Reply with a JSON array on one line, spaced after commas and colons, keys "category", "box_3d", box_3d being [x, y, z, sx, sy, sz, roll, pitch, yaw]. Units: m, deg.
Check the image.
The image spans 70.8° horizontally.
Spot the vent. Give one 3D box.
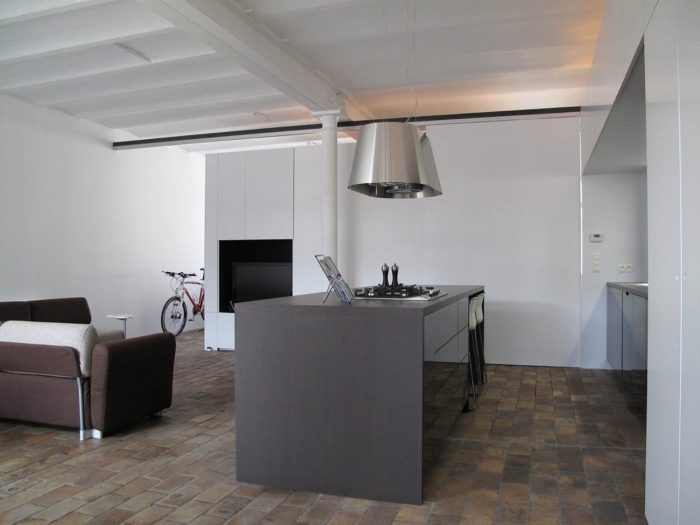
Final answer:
[{"category": "vent", "box_3d": [0.404, -0.891, 4.266, 0.711, 0.547, 0.861, 1, 3, 15]}]

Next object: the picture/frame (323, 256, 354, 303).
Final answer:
[{"category": "picture/frame", "box_3d": [-0.094, 0.117, 3.608, 0.255, 0.337, 0.267, 0, 6, 13]}]

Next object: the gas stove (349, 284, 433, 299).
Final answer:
[{"category": "gas stove", "box_3d": [0.335, 0.224, 3.998, 0.606, 0.051, 0.714, 0, 3, -1]}]

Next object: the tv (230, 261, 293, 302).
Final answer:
[{"category": "tv", "box_3d": [-1.456, 0.304, 8.086, 1.094, 0.711, 0.610, 1, 2, 5]}]

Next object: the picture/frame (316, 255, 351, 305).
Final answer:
[{"category": "picture/frame", "box_3d": [-0.095, 0.117, 3.606, 0.243, 0.327, 0.255, 0, 7, 13]}]
